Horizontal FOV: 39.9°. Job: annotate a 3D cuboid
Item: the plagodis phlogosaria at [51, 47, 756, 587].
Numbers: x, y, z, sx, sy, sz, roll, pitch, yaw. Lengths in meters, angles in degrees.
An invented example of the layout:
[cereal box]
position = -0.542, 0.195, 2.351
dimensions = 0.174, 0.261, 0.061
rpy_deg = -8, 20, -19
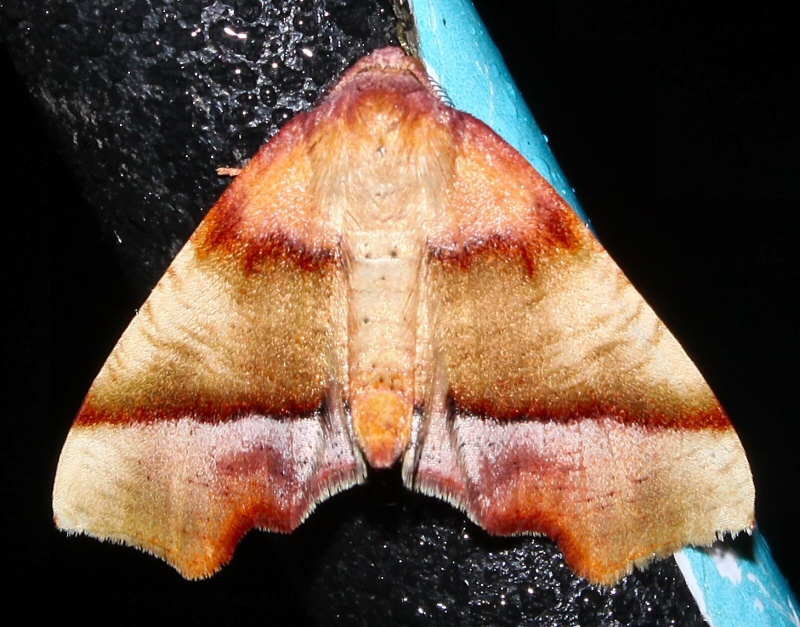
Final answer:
[plagodis phlogosaria]
position = -0.015, 0.025, 1.272
dimensions = 0.636, 0.586, 0.191
rpy_deg = 4, 6, 5
